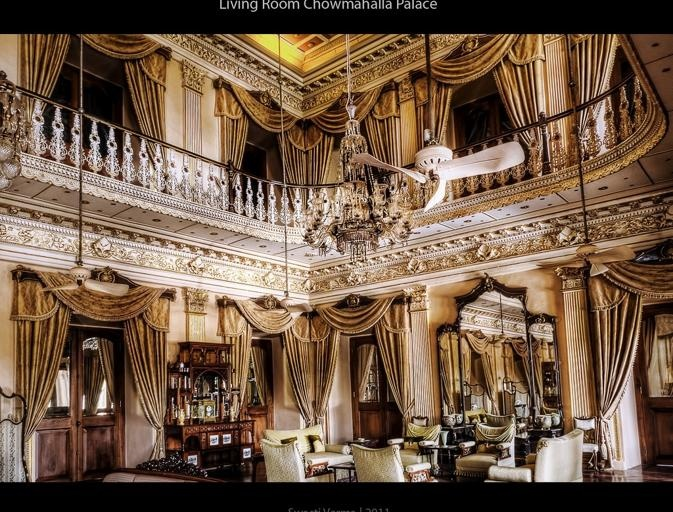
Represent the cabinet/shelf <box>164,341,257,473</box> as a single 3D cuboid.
[{"bbox_3d":[-2.047,2.376,11.311,0.594,2.297,1.799,-15,-21,31],"label":"cabinet/shelf"}]
